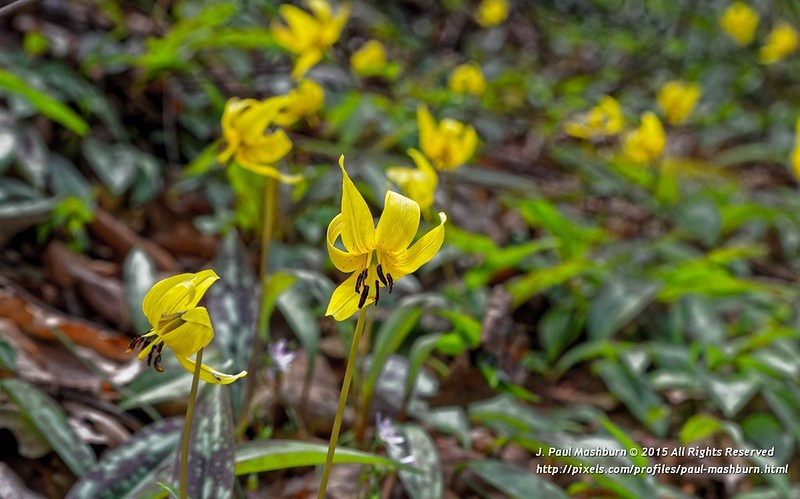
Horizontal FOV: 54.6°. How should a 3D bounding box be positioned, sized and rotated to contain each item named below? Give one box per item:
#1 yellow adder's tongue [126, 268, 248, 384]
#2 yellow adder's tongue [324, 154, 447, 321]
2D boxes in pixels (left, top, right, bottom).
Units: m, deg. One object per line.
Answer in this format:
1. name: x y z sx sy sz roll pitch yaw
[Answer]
1. yellow adder's tongue: -0.748 0.299 2.696 0.346 0.405 0.271 0 11 -16
2. yellow adder's tongue: -0.099 -0.013 2.708 0.360 0.419 0.338 -8 65 37
